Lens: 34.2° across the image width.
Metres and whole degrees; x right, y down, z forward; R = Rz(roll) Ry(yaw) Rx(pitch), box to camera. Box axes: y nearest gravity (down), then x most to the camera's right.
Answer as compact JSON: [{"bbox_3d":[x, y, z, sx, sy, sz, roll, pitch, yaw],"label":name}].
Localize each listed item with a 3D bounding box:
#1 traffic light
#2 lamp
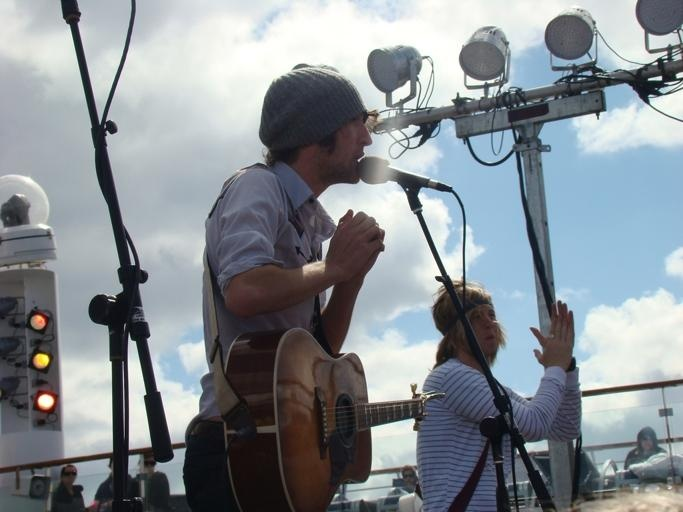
[{"bbox_3d":[-2.767,0.960,10.257,0.245,0.983,0.232,-2,-12,-19],"label":"traffic light"},{"bbox_3d":[1.776,-2.118,11.339,3.256,0.872,0.487,-13,-14,22],"label":"lamp"}]
